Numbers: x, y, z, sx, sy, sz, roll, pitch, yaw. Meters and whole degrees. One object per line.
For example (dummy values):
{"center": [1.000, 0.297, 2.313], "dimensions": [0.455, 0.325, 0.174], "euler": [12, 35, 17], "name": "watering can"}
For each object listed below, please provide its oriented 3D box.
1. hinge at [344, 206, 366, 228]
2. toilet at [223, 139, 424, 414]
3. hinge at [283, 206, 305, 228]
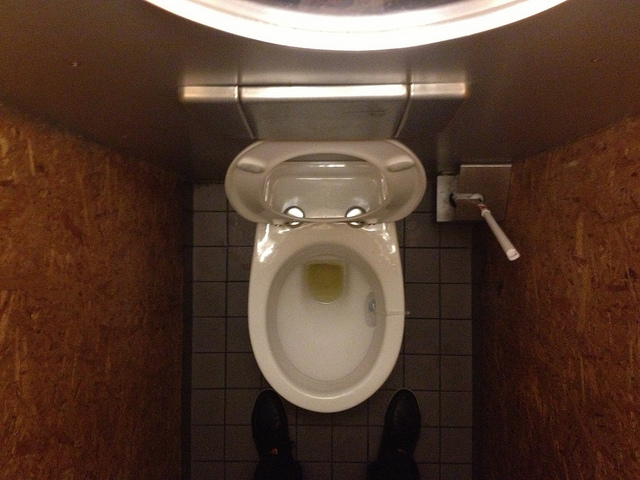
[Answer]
{"center": [0.104, -0.070, 1.738], "dimensions": [0.063, 0.081, 0.056], "euler": [2, 84, 2], "name": "hinge"}
{"center": [0.006, 0.096, 1.824], "dimensions": [0.590, 0.798, 0.831], "euler": [0, 90, 1], "name": "toilet"}
{"center": [-0.076, -0.078, 1.731], "dimensions": [0.056, 0.042, 0.060], "euler": [-5, 93, -34], "name": "hinge"}
